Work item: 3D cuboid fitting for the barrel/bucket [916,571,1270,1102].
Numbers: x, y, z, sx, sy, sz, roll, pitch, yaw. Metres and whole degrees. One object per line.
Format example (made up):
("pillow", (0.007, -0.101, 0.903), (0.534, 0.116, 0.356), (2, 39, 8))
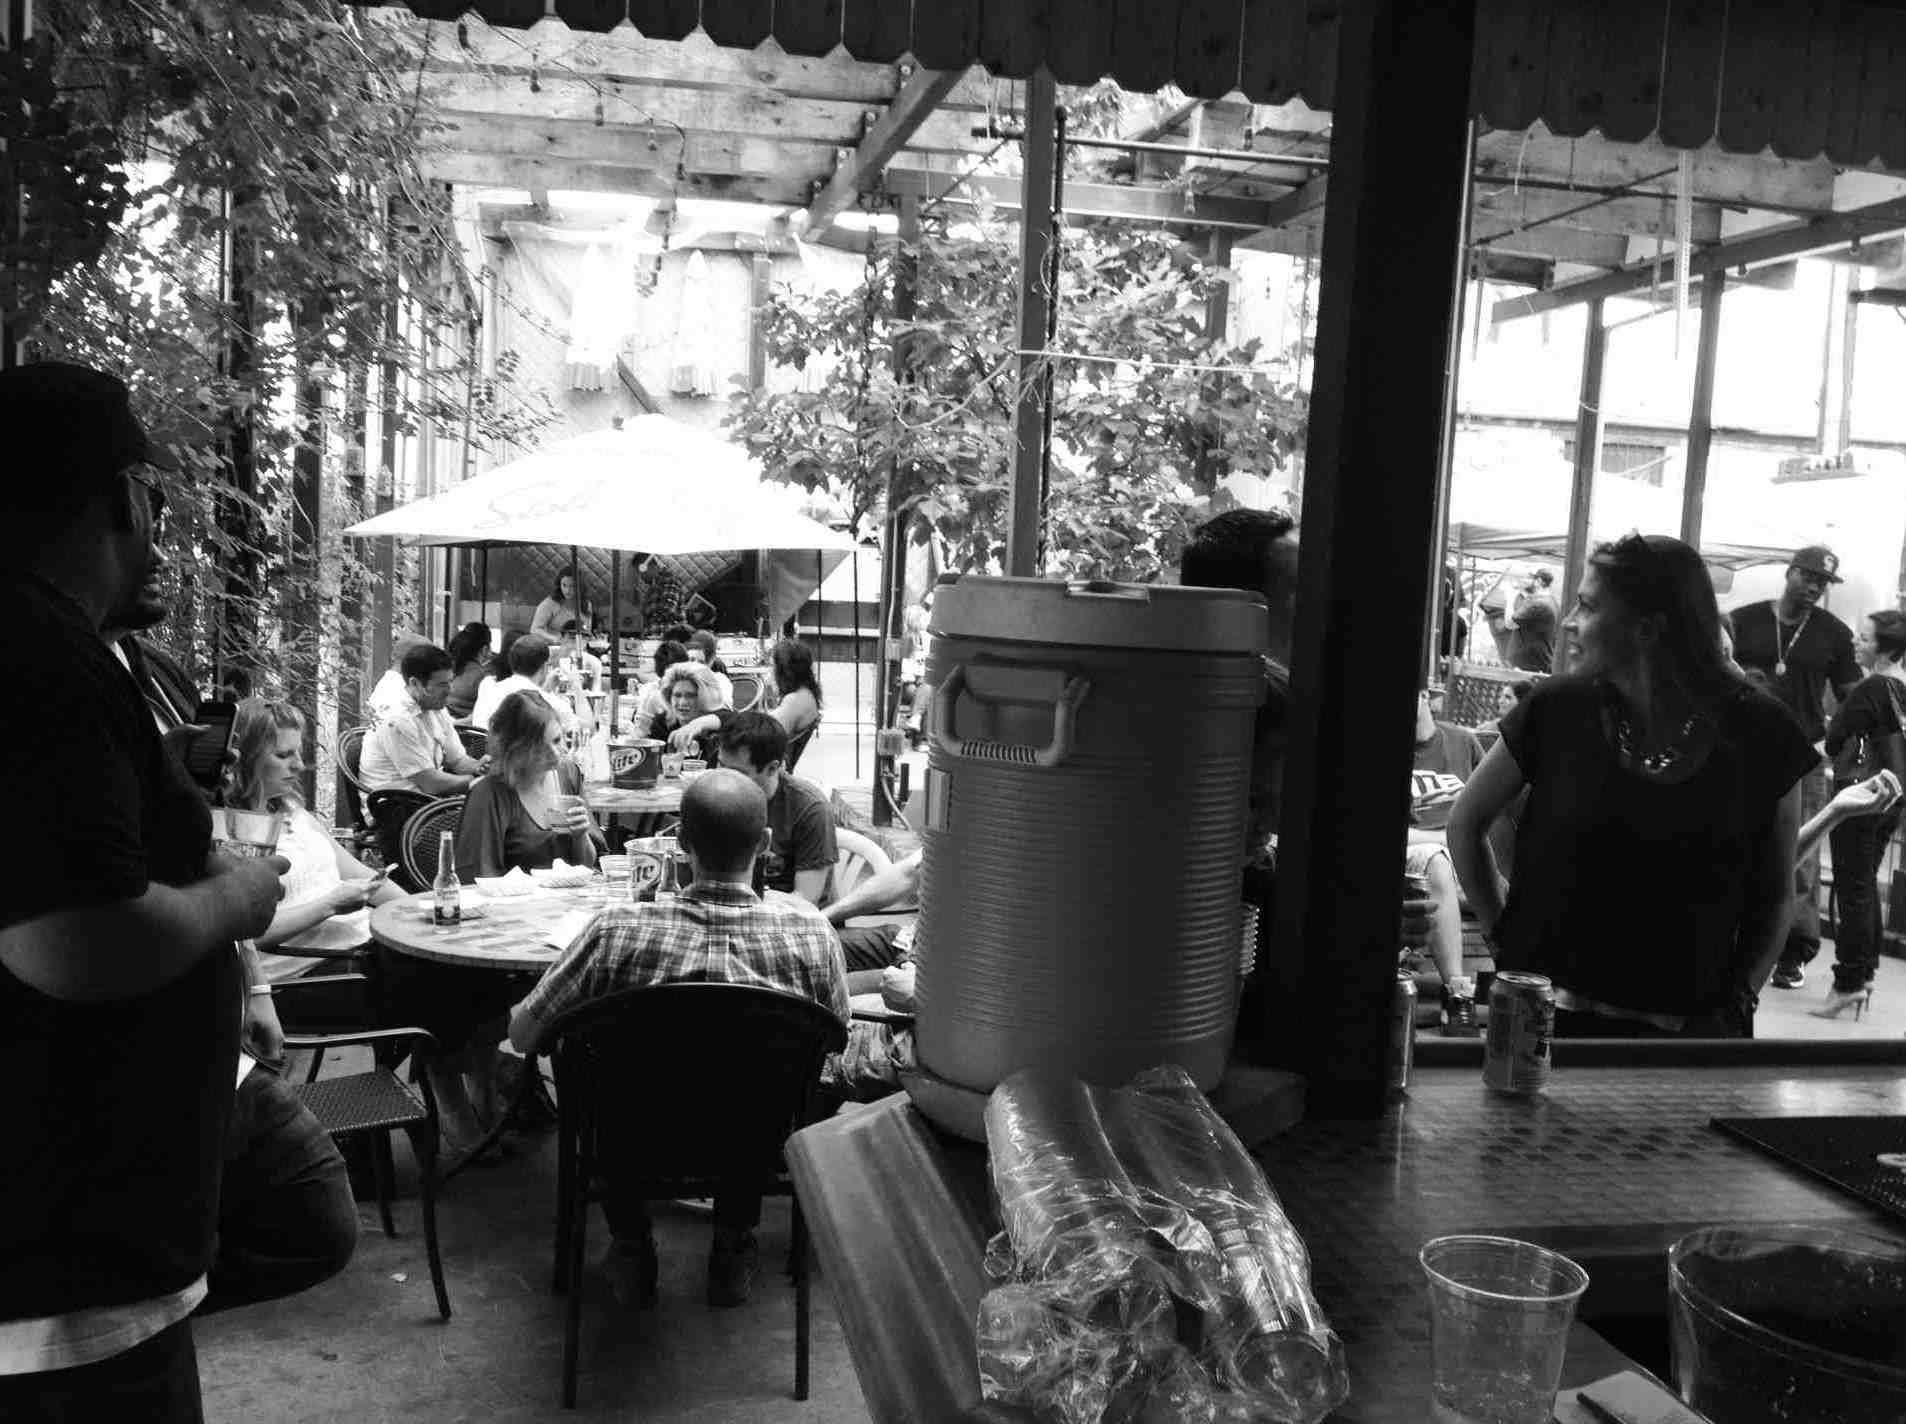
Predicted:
("barrel/bucket", (0.195, 0.162, 2.574), (0.464, 0.746, 0.543), (12, 13, 40))

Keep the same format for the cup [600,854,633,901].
("cup", (-1.083, 0.537, 5.938), (0.126, 0.116, 0.143), (3, 5, 22))

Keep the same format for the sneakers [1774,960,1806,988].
("sneakers", (3.859, 1.219, 8.419), (0.080, 0.112, 0.251), (-2, -12, 8))

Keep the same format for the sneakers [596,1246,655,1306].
("sneakers", (-0.827, 1.467, 4.748), (0.104, 0.185, 0.176), (1, -5, -4))

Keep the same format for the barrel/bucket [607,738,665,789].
("barrel/bucket", (-1.418, 0.242, 8.302), (0.233, 0.226, 0.238), (1, 7, 0))

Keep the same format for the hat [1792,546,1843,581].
("hat", (4.250, -0.723, 8.944), (0.218, 0.145, 0.167), (15, 6, 0))
